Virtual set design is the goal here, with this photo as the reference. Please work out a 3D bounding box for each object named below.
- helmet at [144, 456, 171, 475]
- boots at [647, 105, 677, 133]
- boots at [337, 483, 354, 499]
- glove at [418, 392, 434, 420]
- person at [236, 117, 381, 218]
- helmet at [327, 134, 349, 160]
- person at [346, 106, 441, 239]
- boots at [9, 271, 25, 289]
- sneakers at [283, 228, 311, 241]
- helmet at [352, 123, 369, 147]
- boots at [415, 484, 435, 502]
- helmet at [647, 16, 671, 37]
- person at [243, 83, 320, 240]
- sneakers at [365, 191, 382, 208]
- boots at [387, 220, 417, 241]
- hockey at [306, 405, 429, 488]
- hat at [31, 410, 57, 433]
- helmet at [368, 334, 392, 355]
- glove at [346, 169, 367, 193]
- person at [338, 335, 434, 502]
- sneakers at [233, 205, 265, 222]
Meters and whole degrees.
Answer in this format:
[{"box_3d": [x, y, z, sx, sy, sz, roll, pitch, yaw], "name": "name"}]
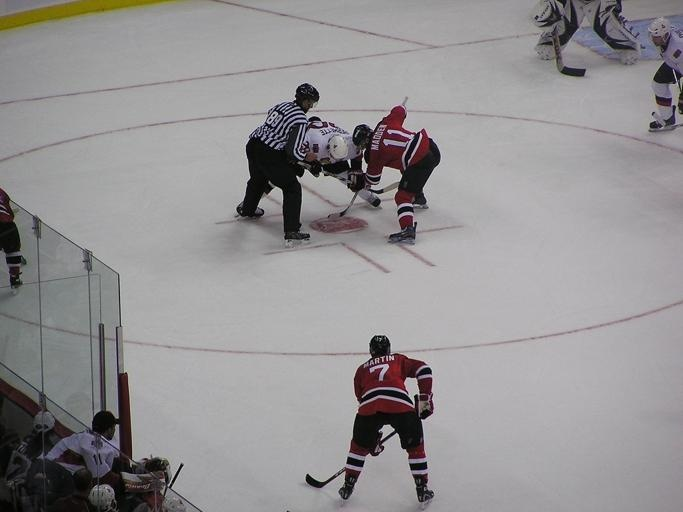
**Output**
[{"box_3d": [-1.104, 1.230, 4.979, 0.131, 0.126, 0.099, -11, 53, -8], "name": "helmet"}, {"box_3d": [3.626, -1.538, 9.506, 0.410, 0.371, 0.197, 2, 17, 6], "name": "boots"}, {"box_3d": [0.019, 1.461, 5.180, 0.081, 0.106, 0.045, 35, 0, 8], "name": "boots"}, {"box_3d": [0.528, 0.952, 5.298, 0.105, 0.147, 0.063, -3, -25, 17], "name": "glove"}, {"box_3d": [-0.316, -0.858, 8.083, 1.120, 0.707, 1.080, -12, -11, -12], "name": "person"}, {"box_3d": [-0.036, -0.979, 7.663, 0.178, 0.231, 0.197, -9, -1, -19], "name": "helmet"}, {"box_3d": [0.466, -0.771, 7.762, 0.690, 1.187, 0.514, 13, 17, 25], "name": "person"}, {"box_3d": [-1.954, 0.135, 5.019, 0.065, 0.091, 0.092, 1, -4, -20], "name": "boots"}, {"box_3d": [-0.426, -0.197, 7.683, 0.237, 0.112, 0.093, -6, 16, -26], "name": "sneakers"}, {"box_3d": [0.180, -1.130, 7.754, 0.146, 0.186, 0.189, 5, 56, 6], "name": "helmet"}, {"box_3d": [0.511, 1.442, 5.154, 0.054, 0.114, 0.166, -1, 18, 21], "name": "boots"}, {"box_3d": [3.519, -2.573, 9.290, 0.223, 0.215, 0.178, -8, 36, -9], "name": "helmet"}, {"box_3d": [-0.579, -0.900, 7.928, 0.667, 1.362, 0.917, -10, 25, -37], "name": "person"}, {"box_3d": [0.301, -0.577, 8.312, 0.101, 0.046, 0.189, 7, -25, 47], "name": "sneakers"}, {"box_3d": [0.585, -0.206, 7.632, 0.327, 0.230, 0.110, 1, 4, 16], "name": "boots"}, {"box_3d": [0.172, 1.242, 5.360, 0.110, 0.651, 0.094, 30, 26, -25], "name": "hockey"}, {"box_3d": [-1.750, 0.977, 4.938, 0.095, 0.129, 0.128, 8, 35, -4], "name": "hat"}, {"box_3d": [0.239, 0.585, 5.419, 0.108, 0.138, 0.138, 0, 57, -3], "name": "helmet"}, {"box_3d": [0.114, -0.716, 8.021, 0.147, 0.205, 0.196, 1, 52, -10], "name": "glove"}, {"box_3d": [0.299, 1.038, 5.348, 0.585, 0.502, 1.148, -6, 57, 12], "name": "person"}, {"box_3d": [-0.908, -0.429, 8.246, 0.335, 0.158, 0.113, -3, 50, -21], "name": "sneakers"}]
